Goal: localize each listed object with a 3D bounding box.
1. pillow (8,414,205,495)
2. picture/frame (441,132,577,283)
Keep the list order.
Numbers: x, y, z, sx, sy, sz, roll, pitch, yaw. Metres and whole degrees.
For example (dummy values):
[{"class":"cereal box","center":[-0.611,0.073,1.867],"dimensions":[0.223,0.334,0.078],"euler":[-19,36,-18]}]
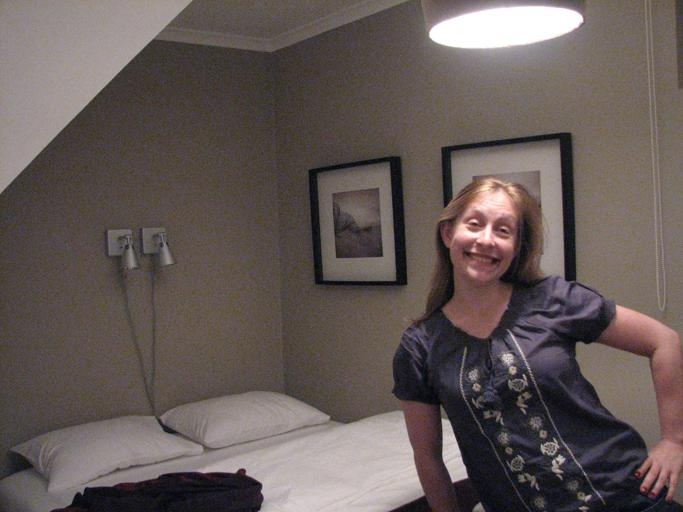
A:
[{"class":"pillow","center":[-0.583,0.473,1.390],"dimensions":[0.281,0.060,0.174],"euler":[-4,29,-39]},{"class":"picture/frame","center":[0.439,-0.123,1.430],"dimensions":[0.446,0.479,0.021],"euler":[-3,0,42]}]
